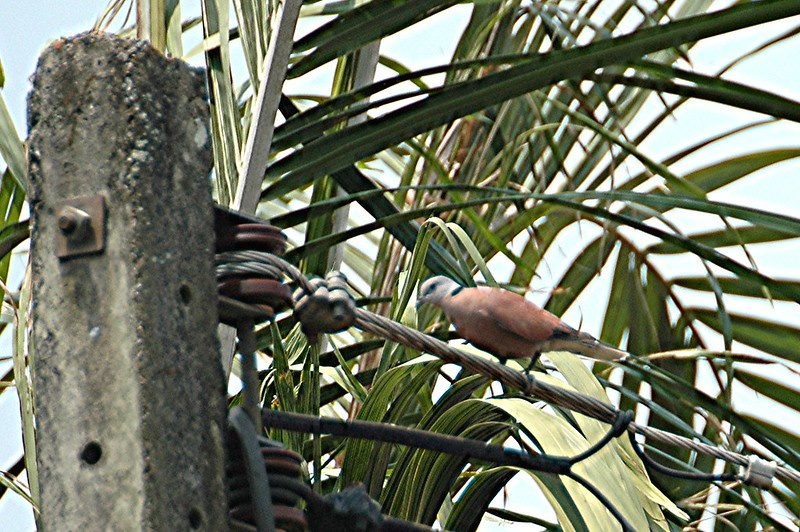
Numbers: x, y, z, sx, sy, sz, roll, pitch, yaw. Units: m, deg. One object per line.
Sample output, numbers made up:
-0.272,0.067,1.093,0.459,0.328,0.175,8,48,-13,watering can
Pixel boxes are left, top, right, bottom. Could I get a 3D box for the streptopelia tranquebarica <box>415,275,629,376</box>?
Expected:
0.490,0.175,5.968,0.809,0.502,0.287,-5,7,10,streptopelia tranquebarica
